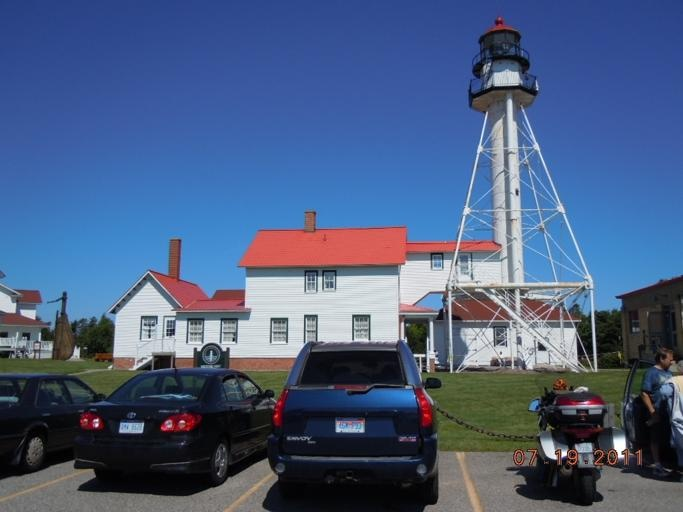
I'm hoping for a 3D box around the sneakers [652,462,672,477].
[{"bbox_3d":[5.528,3.751,11.410,0.197,0.185,0.446,1,-10,-29],"label":"sneakers"}]

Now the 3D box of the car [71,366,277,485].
[{"bbox_3d":[-2.738,2.955,11.379,1.760,1.886,3.160,-5,-6,38],"label":"car"}]

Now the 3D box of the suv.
[{"bbox_3d":[0.222,2.322,9.407,1.869,1.419,3.002,0,-3,7],"label":"suv"}]

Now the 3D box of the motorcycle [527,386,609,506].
[{"bbox_3d":[3.642,3.001,10.397,1.078,1.664,1.162,-1,-5,0],"label":"motorcycle"}]
